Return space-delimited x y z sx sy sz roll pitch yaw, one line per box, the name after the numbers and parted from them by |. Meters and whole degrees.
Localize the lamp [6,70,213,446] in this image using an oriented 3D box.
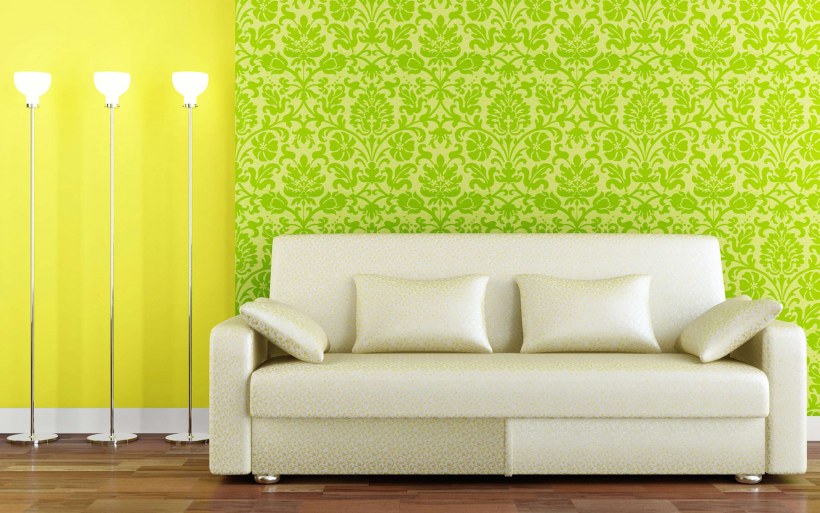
-2.047 -0.016 4.609 1.362 2.492 0.715 -1 9 -1 | lamp

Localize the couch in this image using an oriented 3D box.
0.565 0.556 4.128 3.305 1.298 0.960 0 8 0 | couch
